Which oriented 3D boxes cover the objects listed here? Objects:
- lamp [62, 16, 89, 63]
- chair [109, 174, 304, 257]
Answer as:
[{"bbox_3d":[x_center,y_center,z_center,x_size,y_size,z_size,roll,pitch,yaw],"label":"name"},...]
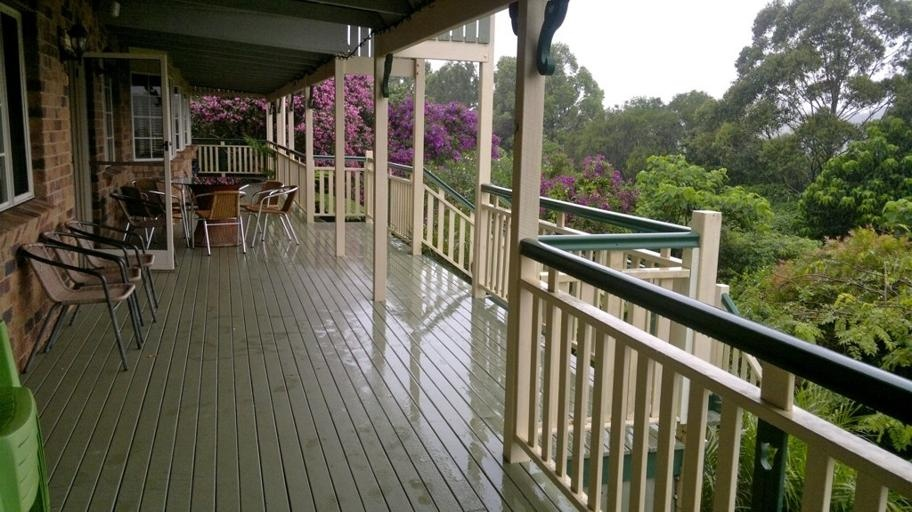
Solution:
[{"bbox_3d":[-4.349,-2.413,6.960,0.232,0.406,0.370,0,13,-27],"label":"lamp"},{"bbox_3d":[-3.831,-0.641,9.668,2.246,1.088,2.817,7,12,3],"label":"chair"}]
